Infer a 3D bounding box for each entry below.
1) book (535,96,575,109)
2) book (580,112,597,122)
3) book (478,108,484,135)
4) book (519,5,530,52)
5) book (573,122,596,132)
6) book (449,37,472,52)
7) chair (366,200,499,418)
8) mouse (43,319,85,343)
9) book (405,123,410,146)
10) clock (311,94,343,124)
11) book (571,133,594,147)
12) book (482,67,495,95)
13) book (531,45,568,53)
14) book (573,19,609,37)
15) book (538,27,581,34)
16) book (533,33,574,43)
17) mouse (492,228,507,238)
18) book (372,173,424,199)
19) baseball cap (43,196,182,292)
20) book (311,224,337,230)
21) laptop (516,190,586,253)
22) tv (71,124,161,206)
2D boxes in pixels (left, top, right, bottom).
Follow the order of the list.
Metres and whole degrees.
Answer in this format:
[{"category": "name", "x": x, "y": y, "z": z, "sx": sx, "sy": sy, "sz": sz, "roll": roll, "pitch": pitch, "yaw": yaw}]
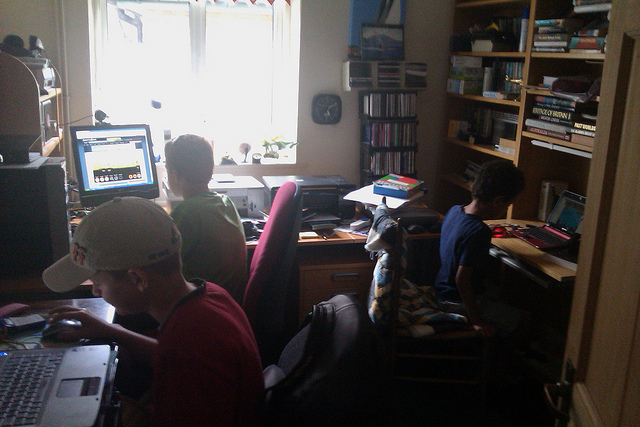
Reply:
[{"category": "book", "x": 1.520, "y": -0.720, "z": 3.186, "sx": 0.024, "sy": 0.058, "sz": 0.326, "roll": -7, "pitch": 18, "yaw": -17}, {"category": "book", "x": 1.647, "y": -0.585, "z": 3.018, "sx": 0.084, "sy": 0.022, "sz": 0.088, "roll": -6, "pitch": 20, "yaw": -18}, {"category": "book", "x": 1.322, "y": -0.746, "z": 4.051, "sx": 0.038, "sy": 0.147, "sz": 0.162, "roll": 5, "pitch": 11, "yaw": 11}, {"category": "book", "x": 1.455, "y": -1.310, "z": 3.509, "sx": 0.048, "sy": 0.316, "sz": 0.298, "roll": 5, "pitch": 18, "yaw": 19}, {"category": "book", "x": 1.622, "y": -0.530, "z": 3.017, "sx": 0.046, "sy": 0.042, "sz": 0.159, "roll": -5, "pitch": 18, "yaw": -11}, {"category": "book", "x": 1.178, "y": -1.403, "z": 4.110, "sx": 0.177, "sy": 0.156, "sz": 0.040, "roll": -6, "pitch": 5, "yaw": -1}, {"category": "chair", "x": 0.722, "y": 0.519, "z": 3.061, "sx": 0.811, "sy": 1.209, "sz": 1.019, "roll": 2, "pitch": 18, "yaw": 11}, {"category": "mouse", "x": -1.053, "y": 0.479, "z": 2.016, "sx": 0.141, "sy": 0.044, "sz": 0.085, "roll": 2, "pitch": 14, "yaw": -41}, {"category": "book", "x": 0.715, "y": -0.645, "z": 4.050, "sx": 0.042, "sy": 0.182, "sz": 0.022, "roll": -9, "pitch": 19, "yaw": -23}, {"category": "clock", "x": 0.040, "y": -0.867, "z": 4.122, "sx": 0.287, "sy": 0.276, "sz": 0.066, "roll": 8, "pitch": 12, "yaw": -22}, {"category": "book", "x": 1.616, "y": -0.449, "z": 3.029, "sx": 0.022, "sy": 0.065, "sz": 0.171, "roll": -7, "pitch": 18, "yaw": -17}, {"category": "book", "x": 1.328, "y": -1.050, "z": 3.884, "sx": 0.079, "sy": 0.179, "sz": 0.118, "roll": 5, "pitch": 18, "yaw": 18}, {"category": "book", "x": 1.508, "y": -1.065, "z": 3.207, "sx": 0.109, "sy": 0.025, "sz": 0.108, "roll": 2, "pitch": 13, "yaw": 15}, {"category": "book", "x": 1.644, "y": -1.108, "z": 2.965, "sx": 0.106, "sy": 0.106, "sz": 0.269, "roll": -5, "pitch": 18, "yaw": -13}, {"category": "book", "x": 1.530, "y": -1.166, "z": 3.152, "sx": 0.116, "sy": 0.027, "sz": 0.115, "roll": 2, "pitch": 16, "yaw": 12}, {"category": "book", "x": 1.509, "y": -1.133, "z": 3.201, "sx": 0.034, "sy": 0.056, "sz": 0.278, "roll": -9, "pitch": 19, "yaw": -24}, {"category": "mouse", "x": 1.214, "y": 0.133, "z": 3.317, "sx": 0.078, "sy": 0.033, "sz": 0.124, "roll": 9, "pitch": 20, "yaw": 30}, {"category": "book", "x": 0.564, "y": -0.188, "z": 3.590, "sx": 0.330, "sy": 0.103, "sz": 0.281, "roll": 14, "pitch": 23, "yaw": 40}, {"category": "baseball cap", "x": -0.797, "y": 0.125, "z": 1.795, "sx": 0.535, "sy": 0.363, "sz": 0.207, "roll": 3, "pitch": 18, "yaw": 14}, {"category": "book", "x": 0.025, "y": 0.094, "z": 3.492, "sx": 0.171, "sy": 0.030, "sz": 0.016, "roll": -5, "pitch": 18, "yaw": -12}, {"category": "laptop", "x": 1.521, "y": 0.032, "z": 3.231, "sx": 0.433, "sy": 0.281, "sz": 0.385, "roll": -1, "pitch": 15, "yaw": -6}, {"category": "tv", "x": -1.374, "y": -0.322, "z": 3.261, "sx": 0.549, "sy": 0.504, "sz": 0.211, "roll": -7, "pitch": 24, "yaw": -34}]
